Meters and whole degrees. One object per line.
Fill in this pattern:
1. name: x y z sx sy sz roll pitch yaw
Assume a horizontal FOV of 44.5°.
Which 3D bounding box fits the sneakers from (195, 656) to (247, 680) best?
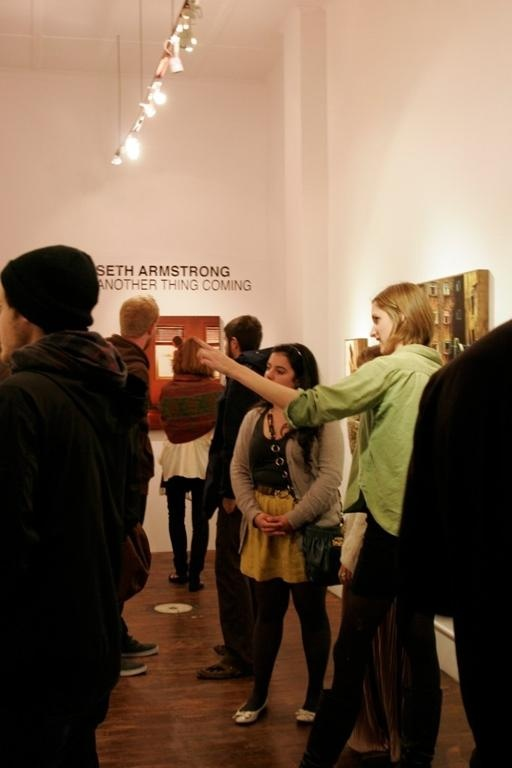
1. sneakers: -0.190 1.548 3.434 0.247 0.128 0.110 2 -15 0
